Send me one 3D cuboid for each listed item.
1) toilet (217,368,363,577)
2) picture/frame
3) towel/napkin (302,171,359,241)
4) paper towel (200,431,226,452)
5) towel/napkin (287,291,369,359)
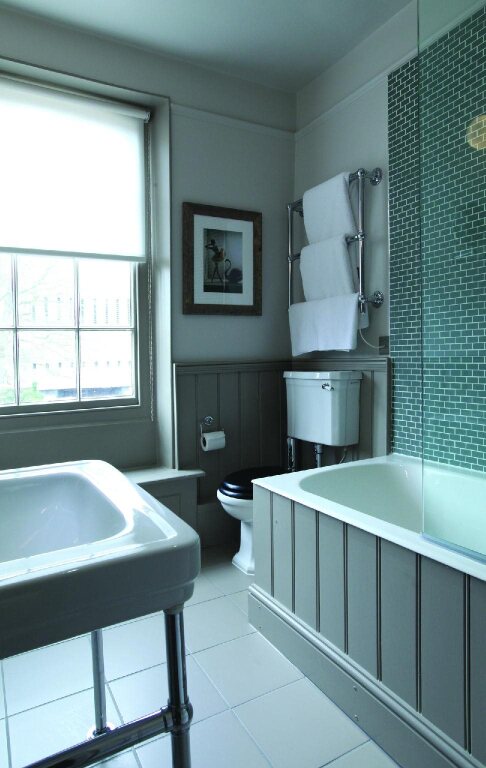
[{"bbox_3d":[0.183,0.375,2.612,0.614,0.912,0.416,-1,5,-29],"label":"toilet"},{"bbox_3d":[-0.128,-0.652,2.876,0.534,0.693,0.033,-2,4,-39],"label":"picture/frame"},{"bbox_3d":[0.402,-0.794,2.634,0.109,0.270,0.370,-2,4,-22],"label":"towel/napkin"},{"bbox_3d":[-0.145,0.257,2.813,0.116,0.114,0.084,-6,4,-31],"label":"paper towel"},{"bbox_3d":[0.377,-0.275,2.720,0.066,0.269,0.452,-2,1,-40],"label":"towel/napkin"}]
